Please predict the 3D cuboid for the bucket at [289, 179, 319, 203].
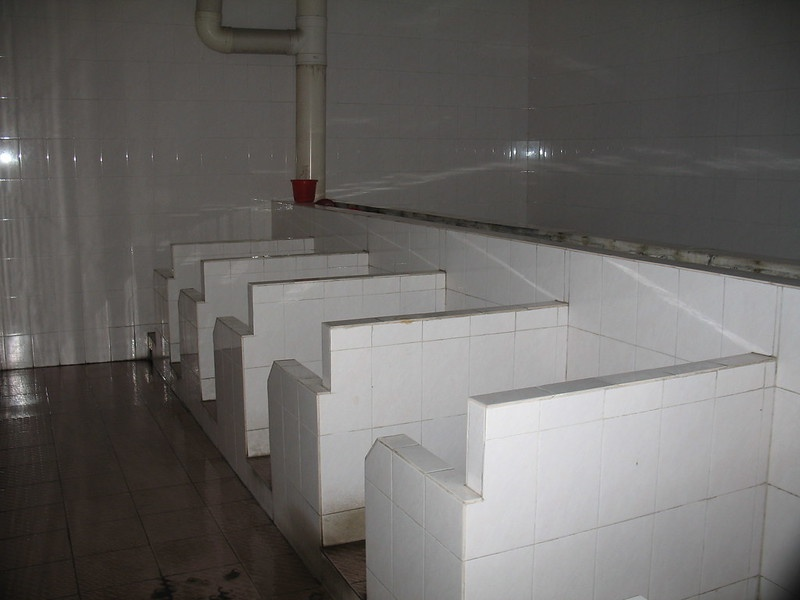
[{"bbox_3d":[-0.712,-0.809,5.236,0.176,0.142,0.186,0,1,0],"label":"bucket"}]
